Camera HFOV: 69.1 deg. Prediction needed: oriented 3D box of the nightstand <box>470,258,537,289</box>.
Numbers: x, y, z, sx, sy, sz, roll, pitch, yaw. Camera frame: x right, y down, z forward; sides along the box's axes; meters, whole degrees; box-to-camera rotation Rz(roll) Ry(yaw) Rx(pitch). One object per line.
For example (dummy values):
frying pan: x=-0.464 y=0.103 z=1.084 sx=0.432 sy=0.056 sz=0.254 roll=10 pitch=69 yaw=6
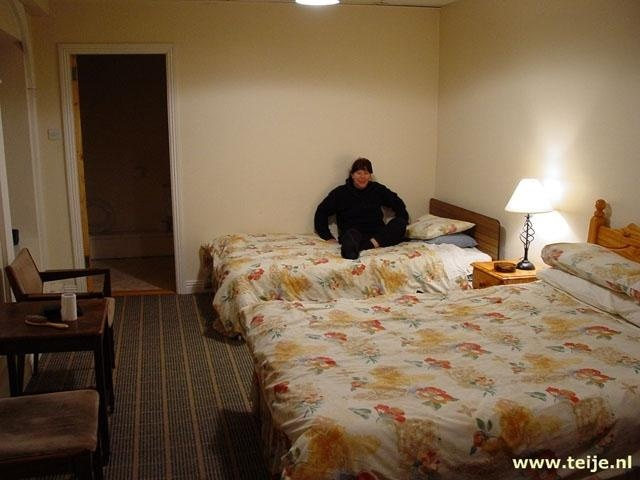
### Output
nightstand: x=1.513 y=0.273 z=3.832 sx=0.278 sy=0.319 sz=0.347 roll=-6 pitch=16 yaw=-18

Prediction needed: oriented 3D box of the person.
person: x=0.382 y=-0.317 z=4.889 sx=1.013 sy=0.906 sz=1.298 roll=3 pitch=18 yaw=20

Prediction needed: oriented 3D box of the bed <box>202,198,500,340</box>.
bed: x=0.311 y=0.206 z=4.306 sx=1.992 sy=0.597 sz=1.435 roll=-2 pitch=14 yaw=-11

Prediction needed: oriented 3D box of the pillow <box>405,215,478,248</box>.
pillow: x=1.208 y=-0.095 z=4.651 sx=0.392 sy=0.120 sz=0.425 roll=-17 pitch=21 yaw=-30
